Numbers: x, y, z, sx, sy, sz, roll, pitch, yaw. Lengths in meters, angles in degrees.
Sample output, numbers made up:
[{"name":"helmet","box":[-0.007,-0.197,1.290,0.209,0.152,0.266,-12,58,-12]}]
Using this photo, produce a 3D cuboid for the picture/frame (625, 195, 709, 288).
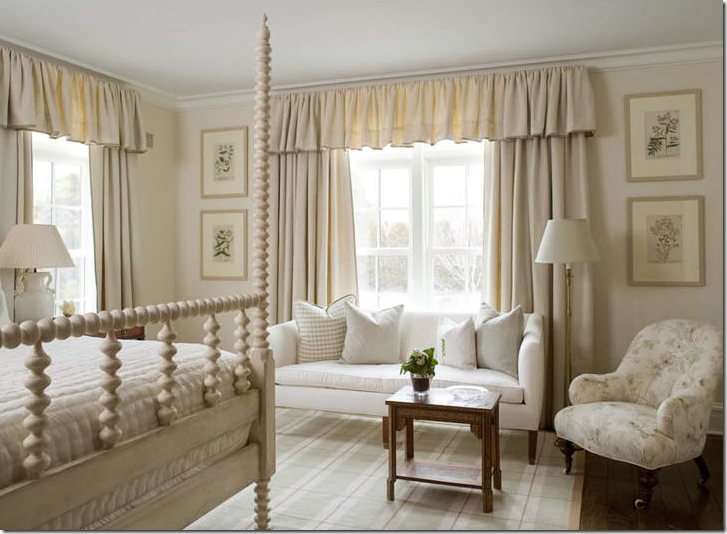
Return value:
[{"name":"picture/frame","box":[2.563,-0.207,4.842,0.703,1.004,0.043,0,-2,19]}]

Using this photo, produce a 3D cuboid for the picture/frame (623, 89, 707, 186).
[{"name":"picture/frame","box":[2.556,-1.093,4.861,0.746,1.063,0.040,-1,1,21]}]

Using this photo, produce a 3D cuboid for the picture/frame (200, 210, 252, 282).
[{"name":"picture/frame","box":[-1.408,-0.233,6.055,0.684,0.985,0.046,0,3,21]}]

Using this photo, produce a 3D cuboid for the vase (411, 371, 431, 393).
[{"name":"vase","box":[0.388,0.769,3.885,0.119,0.107,0.129,0,-6,1]}]

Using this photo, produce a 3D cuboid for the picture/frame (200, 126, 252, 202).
[{"name":"picture/frame","box":[-1.404,-1.082,6.035,0.737,1.017,0.064,0,-1,18]}]

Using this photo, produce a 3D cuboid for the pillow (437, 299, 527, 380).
[{"name":"pillow","box":[0.980,0.618,4.739,0.515,0.394,0.193,-4,-15,39]}]

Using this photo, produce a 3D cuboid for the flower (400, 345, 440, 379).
[{"name":"flower","box":[0.380,0.648,3.920,0.222,0.176,0.234,0,7,3]}]
